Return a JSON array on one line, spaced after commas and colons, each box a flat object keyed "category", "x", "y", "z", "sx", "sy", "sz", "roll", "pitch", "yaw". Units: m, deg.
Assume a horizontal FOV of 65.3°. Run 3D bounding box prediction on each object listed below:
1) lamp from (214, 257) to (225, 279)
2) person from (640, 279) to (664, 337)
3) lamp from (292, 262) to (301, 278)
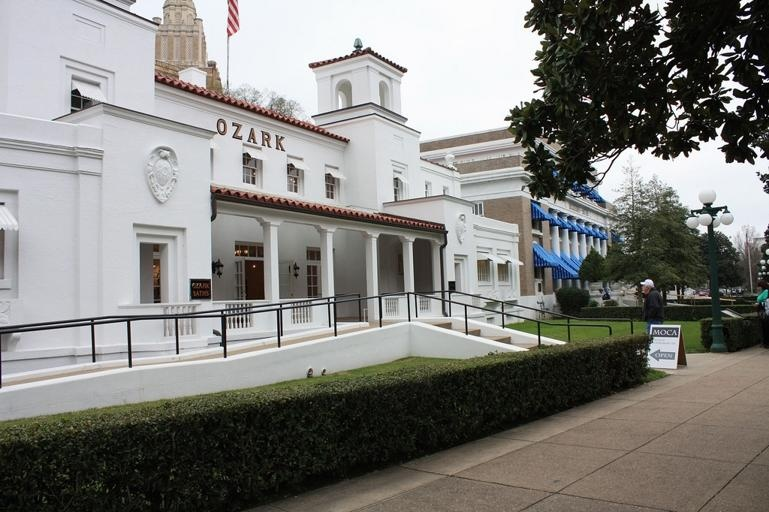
[{"category": "lamp", "x": -5.951, "y": 0.452, "z": 21.479, "sx": 0.367, "sy": 0.681, "sz": 0.557, "roll": 1, "pitch": 9, "yaw": -14}, {"category": "person", "x": 8.524, "y": 1.516, "z": 19.007, "sx": 0.671, "sy": 1.577, "sz": 1.855, "roll": 7, "pitch": 9, "yaw": 24}, {"category": "lamp", "x": -3.627, "y": 0.571, "z": 24.663, "sx": 0.115, "sy": 0.628, "sz": 0.389, "roll": 10, "pitch": 11, "yaw": 40}]
